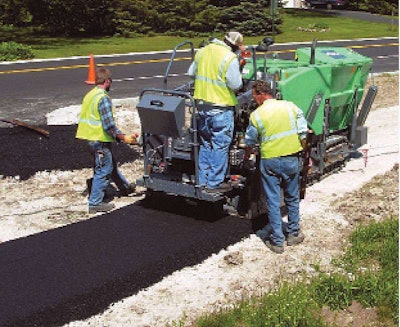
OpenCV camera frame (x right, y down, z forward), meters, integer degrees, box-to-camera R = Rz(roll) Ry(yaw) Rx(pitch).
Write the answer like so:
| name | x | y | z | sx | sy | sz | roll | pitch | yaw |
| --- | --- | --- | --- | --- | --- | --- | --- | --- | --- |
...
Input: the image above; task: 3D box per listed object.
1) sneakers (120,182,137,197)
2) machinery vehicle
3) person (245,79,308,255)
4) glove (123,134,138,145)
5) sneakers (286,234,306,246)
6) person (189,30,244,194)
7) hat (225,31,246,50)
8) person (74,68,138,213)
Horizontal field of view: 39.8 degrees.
| name | x | y | z | sx | sy | sz | roll | pitch | yaw |
| --- | --- | --- | --- | --- | --- | --- | --- | --- | --- |
| sneakers | -1.096 | 0.390 | 8.552 | 0.114 | 0.139 | 0.323 | 9 | 21 | 26 |
| machinery vehicle | 1.155 | -0.859 | 9.226 | 1.907 | 2.647 | 5.431 | 4 | 14 | 38 |
| person | 0.935 | 0.046 | 6.723 | 0.762 | 1.941 | 0.785 | 4 | 22 | 11 |
| glove | -0.975 | -0.312 | 7.886 | 0.216 | 0.163 | 0.149 | -1 | 23 | -8 |
| sneakers | 1.198 | 0.957 | 6.965 | 0.157 | 0.104 | 0.158 | 0 | 3 | 4 |
| person | 0.232 | -0.707 | 7.362 | 0.665 | 1.931 | 1.093 | 0 | 22 | 2 |
| hat | 0.496 | -1.682 | 7.549 | 0.237 | 0.318 | 0.289 | 5 | 24 | 13 |
| person | -1.363 | -0.319 | 7.953 | 0.791 | 2.016 | 0.827 | -4 | 22 | -8 |
